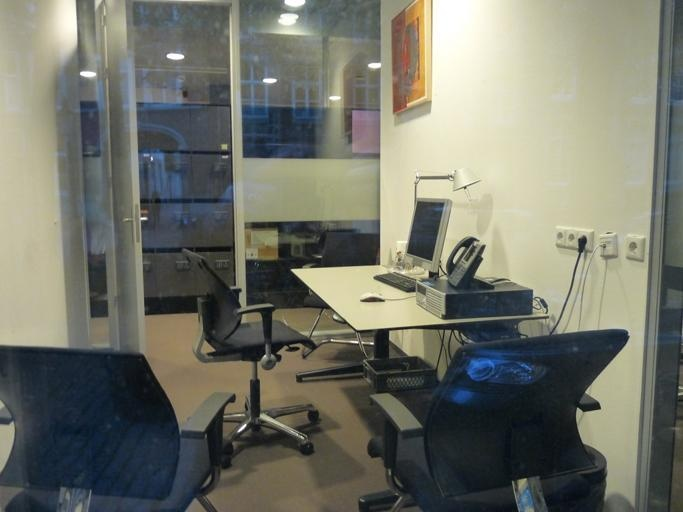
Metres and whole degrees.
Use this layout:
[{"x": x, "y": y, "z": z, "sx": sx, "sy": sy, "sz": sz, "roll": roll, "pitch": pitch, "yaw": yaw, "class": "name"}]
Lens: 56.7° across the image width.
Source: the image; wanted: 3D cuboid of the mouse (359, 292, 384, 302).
[{"x": 0.149, "y": 0.202, "z": 3.194, "sx": 0.086, "sy": 0.027, "sz": 0.051, "roll": -2, "pitch": 8, "yaw": -16, "class": "mouse"}]

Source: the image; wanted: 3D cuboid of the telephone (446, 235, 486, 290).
[{"x": 0.610, "y": 0.038, "z": 3.098, "sx": 0.091, "sy": 0.214, "sz": 0.210, "roll": 8, "pitch": 20, "yaw": -5, "class": "telephone"}]

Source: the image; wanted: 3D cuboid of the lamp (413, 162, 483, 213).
[{"x": 0.616, "y": -0.425, "z": 3.529, "sx": 0.329, "sy": 0.423, "sz": 0.154, "roll": 11, "pitch": 26, "yaw": 33, "class": "lamp"}]

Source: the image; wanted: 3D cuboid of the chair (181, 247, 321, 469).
[{"x": -0.474, "y": 0.466, "z": 3.760, "sx": 0.906, "sy": 1.300, "sz": 0.996, "roll": -3, "pitch": 9, "yaw": -17, "class": "chair"}]

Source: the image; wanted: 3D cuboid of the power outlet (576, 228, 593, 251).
[{"x": 1.011, "y": -0.068, "z": 2.645, "sx": 0.027, "sy": 0.094, "sz": 0.094, "roll": -2, "pitch": -1, "yaw": -7, "class": "power outlet"}]

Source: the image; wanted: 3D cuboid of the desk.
[{"x": 0.176, "y": 0.450, "z": 3.516, "sx": 0.599, "sy": 0.549, "sz": 1.126, "roll": 14, "pitch": 17, "yaw": 8, "class": "desk"}]

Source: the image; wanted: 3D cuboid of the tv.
[{"x": 0.488, "y": -0.104, "z": 3.567, "sx": 0.133, "sy": 0.397, "sz": 0.380, "roll": 12, "pitch": 8, "yaw": -17, "class": "tv"}]
